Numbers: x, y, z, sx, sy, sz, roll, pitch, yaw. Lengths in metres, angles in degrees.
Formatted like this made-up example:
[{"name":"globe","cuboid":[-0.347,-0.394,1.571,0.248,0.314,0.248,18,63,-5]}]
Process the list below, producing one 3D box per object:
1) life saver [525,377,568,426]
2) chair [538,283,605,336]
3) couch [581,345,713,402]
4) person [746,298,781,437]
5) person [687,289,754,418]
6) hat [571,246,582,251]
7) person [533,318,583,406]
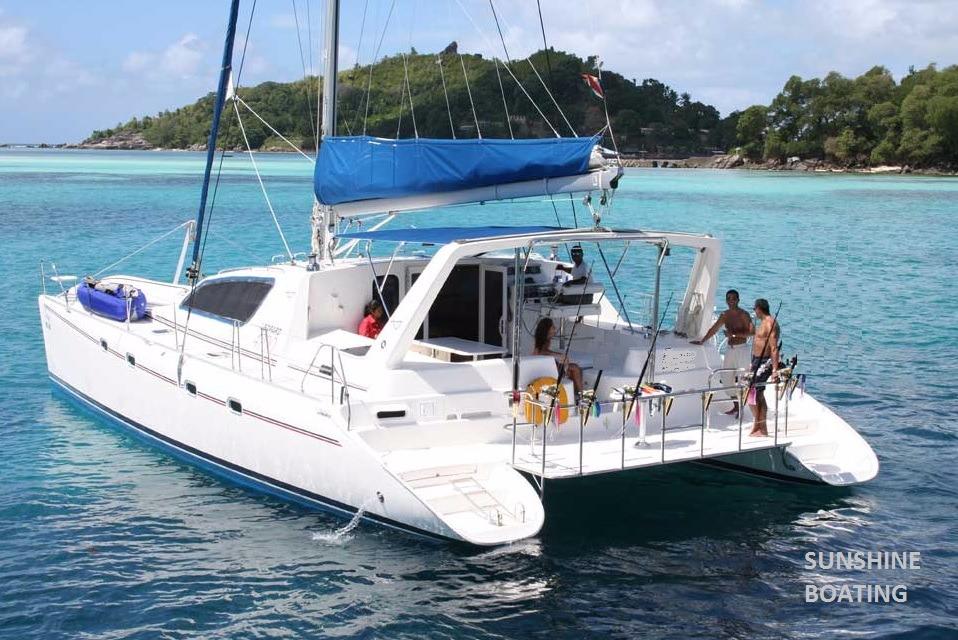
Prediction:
[{"name":"life saver","cuboid":[0.792,0.994,9.716,0.633,0.507,0.353,12,17,41]},{"name":"chair","cuboid":[1.182,-0.163,10.755,0.814,0.644,0.846,-7,18,-30]},{"name":"couch","cuboid":[2.285,0.671,10.493,1.554,0.657,1.258,0,-1,14]},{"name":"person","cuboid":[3.538,0.609,10.283,0.472,1.646,0.518,-4,-8,32]},{"name":"person","cuboid":[3.256,0.380,10.883,0.999,1.508,0.767,1,-1,4]},{"name":"hat","cuboid":[1.362,-0.986,11.353,0.134,0.064,0.206,0,3,1]},{"name":"person","cuboid":[0.972,0.500,10.246,0.579,0.982,0.582,7,0,12]}]
